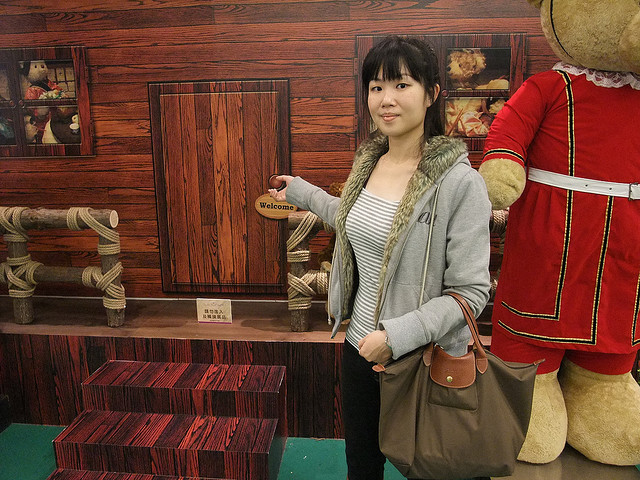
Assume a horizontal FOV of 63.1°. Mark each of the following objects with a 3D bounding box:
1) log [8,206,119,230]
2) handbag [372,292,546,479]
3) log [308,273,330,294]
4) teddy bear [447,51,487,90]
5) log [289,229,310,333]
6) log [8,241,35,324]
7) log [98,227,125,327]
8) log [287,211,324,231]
[{"bbox_3d":[-1.590,-0.140,3.247,0.667,0.136,0.189,0,6,18],"label":"log"},{"bbox_3d":[0.491,0.528,1.869,0.544,0.670,0.187,-1,7,15],"label":"handbag"},{"bbox_3d":[0.006,0.264,3.159,0.130,0.108,0.124,-2,6,9],"label":"log"},{"bbox_3d":[0.941,-1.118,3.345,0.131,0.375,0.211,4,13,5],"label":"teddy bear"},{"bbox_3d":[-0.120,0.245,3.162,0.131,0.631,0.102,-4,7,-4],"label":"log"},{"bbox_3d":[-1.913,0.266,3.347,0.129,0.528,0.171,-7,8,-30],"label":"log"},{"bbox_3d":[-1.305,0.232,3.280,0.103,0.630,0.131,-6,7,-21],"label":"log"},{"bbox_3d":[-0.096,-0.088,3.193,0.234,0.078,0.112,3,41,-2],"label":"log"}]
